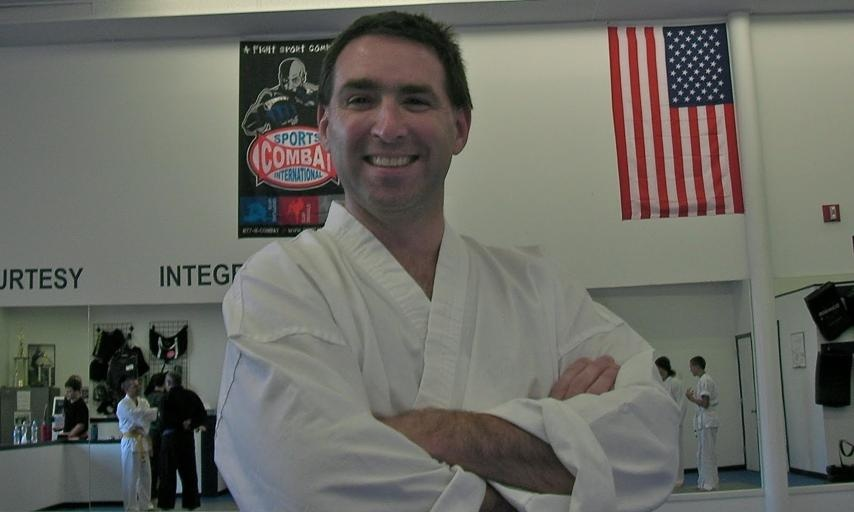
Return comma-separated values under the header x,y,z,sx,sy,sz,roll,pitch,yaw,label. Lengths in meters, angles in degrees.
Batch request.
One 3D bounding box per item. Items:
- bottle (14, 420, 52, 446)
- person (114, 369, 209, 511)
x,y,z,sx,sy,sz,roll,pitch,yaw,label
-4.521,2.016,10.108,0.433,0.277,0.084,-5,-8,10,bottle
-2.989,2.093,9.958,0.993,1.525,0.310,-4,-8,11,person
